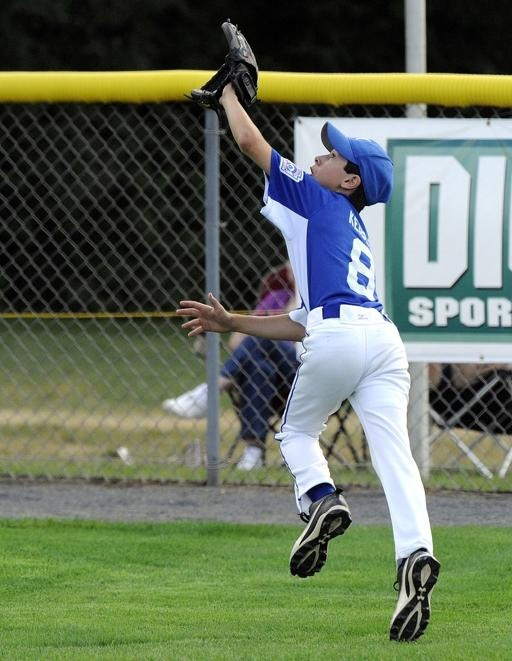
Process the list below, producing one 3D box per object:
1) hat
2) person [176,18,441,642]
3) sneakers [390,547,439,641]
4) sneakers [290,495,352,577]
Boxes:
[{"bbox_3d":[0.386,-0.608,3.873,0.178,0.315,0.200,-32,12,15],"label":"hat"},{"bbox_3d":[0.232,-0.072,3.730,0.595,2.016,1.121,-5,10,-39],"label":"person"},{"bbox_3d":[0.498,0.829,3.441,0.119,0.267,0.133,4,8,21],"label":"sneakers"},{"bbox_3d":[0.215,0.680,3.651,0.194,0.298,0.125,1,8,1],"label":"sneakers"}]
